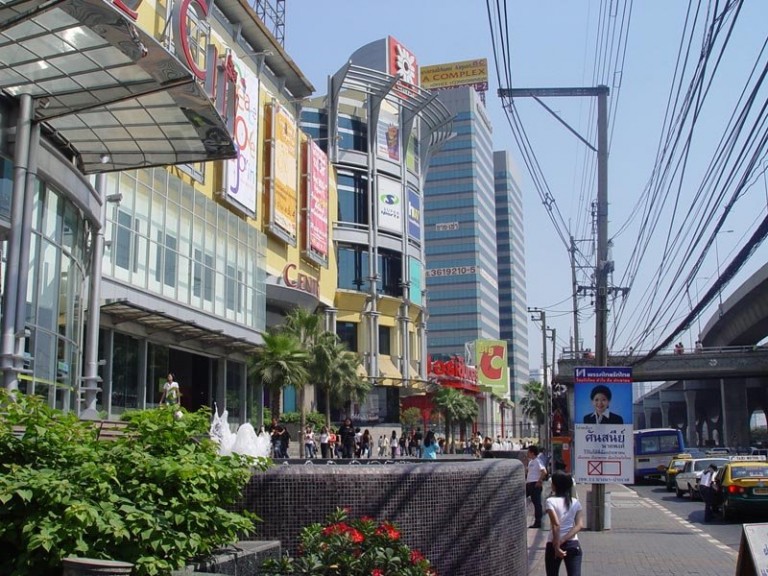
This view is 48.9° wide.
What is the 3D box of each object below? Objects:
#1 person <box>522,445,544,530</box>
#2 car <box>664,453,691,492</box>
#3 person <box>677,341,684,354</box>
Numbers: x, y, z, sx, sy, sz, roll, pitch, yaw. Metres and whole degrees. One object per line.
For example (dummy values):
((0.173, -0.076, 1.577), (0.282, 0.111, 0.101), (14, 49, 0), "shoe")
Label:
((3.945, 5.081, 21.813), (0.472, 2.119, 1.519), (-3, -16, 10), "person")
((13.310, 8.140, 38.048), (1.472, 1.500, 2.777), (-1, -9, 6), "car")
((22.030, 4.512, 62.743), (0.330, 0.865, 1.471), (-3, -17, 12), "person")
